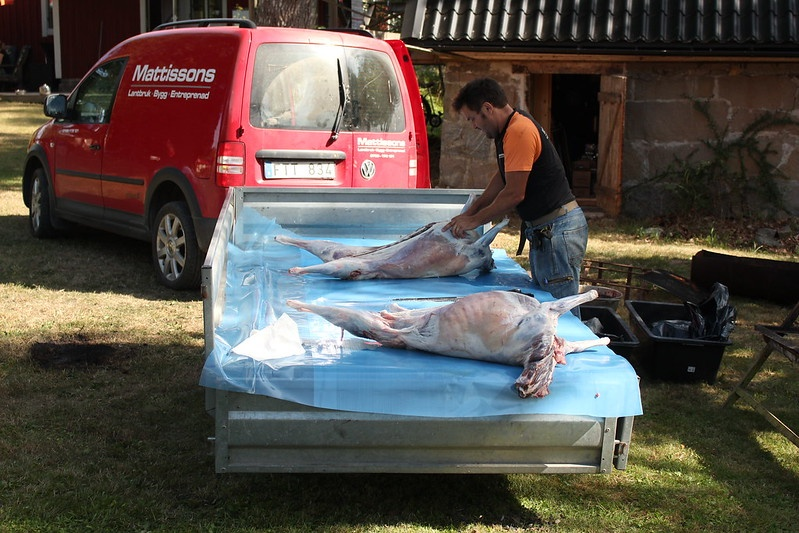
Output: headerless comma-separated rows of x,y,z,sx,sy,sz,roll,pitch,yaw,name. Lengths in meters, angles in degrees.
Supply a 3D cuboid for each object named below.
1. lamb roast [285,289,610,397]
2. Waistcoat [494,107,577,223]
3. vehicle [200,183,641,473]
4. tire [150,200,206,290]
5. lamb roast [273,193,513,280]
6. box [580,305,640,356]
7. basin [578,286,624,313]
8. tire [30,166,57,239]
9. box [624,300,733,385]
0.363,0.424,4.784,1.286,0.403,0.928,2,3,7,lamb roast
1.192,-0.891,6.176,0.496,0.944,0.929,-14,10,6,Waistcoat
-0.025,0.338,5.668,2.844,1.586,2.969,3,13,-10,vehicle
-2.501,-0.247,8.024,0.289,0.982,0.889,-1,-4,-39,tire
0.013,-0.274,6.222,1.362,0.507,0.797,1,3,-1,lamb roast
1.973,0.598,6.607,0.387,0.203,0.577,2,23,-12,box
2.138,0.336,7.560,0.452,0.360,0.460,-1,9,0,basin
-5.084,-0.904,10.096,0.290,0.971,0.888,1,6,-30,tire
2.579,0.781,6.925,0.642,0.407,0.994,-1,25,-9,box
